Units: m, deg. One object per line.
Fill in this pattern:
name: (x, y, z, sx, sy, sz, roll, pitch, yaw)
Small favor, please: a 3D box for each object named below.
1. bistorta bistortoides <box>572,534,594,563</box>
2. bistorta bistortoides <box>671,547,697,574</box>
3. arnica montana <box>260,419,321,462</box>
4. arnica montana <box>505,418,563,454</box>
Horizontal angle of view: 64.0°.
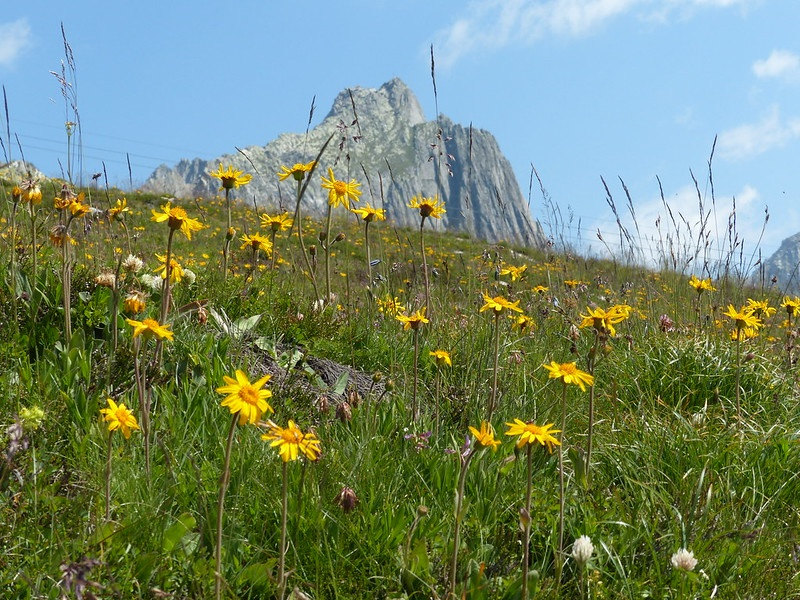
bistorta bistortoides: (0.717, 0.992, 2.510, 0.062, 0.119, 0.201, -4, -1, 18)
bistorta bistortoides: (1.146, 1.046, 2.583, 0.077, 0.103, 0.211, -5, -1, 27)
arnica montana: (-0.392, 0.506, 2.273, 0.215, 0.155, 0.199, -4, -2, -38)
arnica montana: (0.556, 0.558, 2.615, 0.177, 0.135, 0.524, -5, -2, 13)
